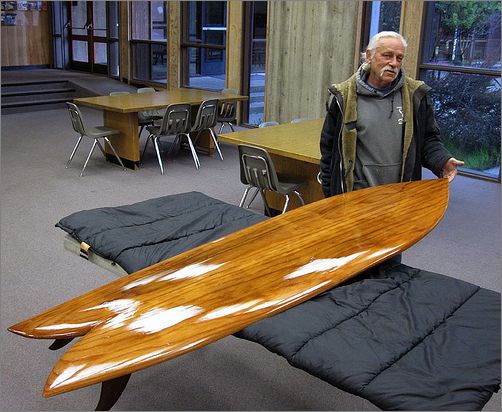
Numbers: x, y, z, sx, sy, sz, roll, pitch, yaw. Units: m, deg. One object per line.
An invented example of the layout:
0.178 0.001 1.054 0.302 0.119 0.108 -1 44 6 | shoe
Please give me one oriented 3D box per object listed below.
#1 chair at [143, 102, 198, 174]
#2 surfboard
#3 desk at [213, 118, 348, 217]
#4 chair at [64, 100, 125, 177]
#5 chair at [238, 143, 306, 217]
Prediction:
-1.267 -1.067 6.017 0.815 1.127 0.906 -17 43 -29 | chair
0.054 0.208 1.358 1.575 0.078 0.389 -22 49 -12 | surfboard
0.334 -0.503 3.960 1.064 0.565 1.054 13 26 35 | desk
-2.584 -1.116 6.015 0.815 0.995 1.692 -10 19 -24 | chair
0.217 -0.264 3.547 0.523 0.661 0.544 23 41 38 | chair
